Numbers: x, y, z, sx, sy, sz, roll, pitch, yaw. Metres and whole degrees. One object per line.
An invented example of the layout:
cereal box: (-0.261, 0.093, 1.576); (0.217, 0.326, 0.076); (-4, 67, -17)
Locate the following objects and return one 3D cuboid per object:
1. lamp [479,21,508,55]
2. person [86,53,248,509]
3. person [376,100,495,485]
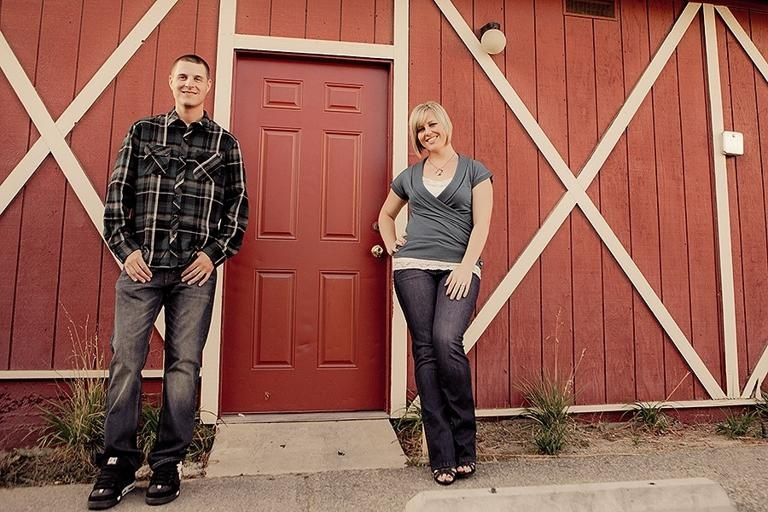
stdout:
lamp: (0.860, -1.703, 4.914); (0.196, 0.251, 0.129); (-1, 12, 2)
person: (-1.356, 0.110, 3.894); (0.979, 2.710, 0.608); (-2, 7, -12)
person: (0.385, 0.189, 4.124); (0.613, 2.377, 0.752); (-3, 7, -20)
